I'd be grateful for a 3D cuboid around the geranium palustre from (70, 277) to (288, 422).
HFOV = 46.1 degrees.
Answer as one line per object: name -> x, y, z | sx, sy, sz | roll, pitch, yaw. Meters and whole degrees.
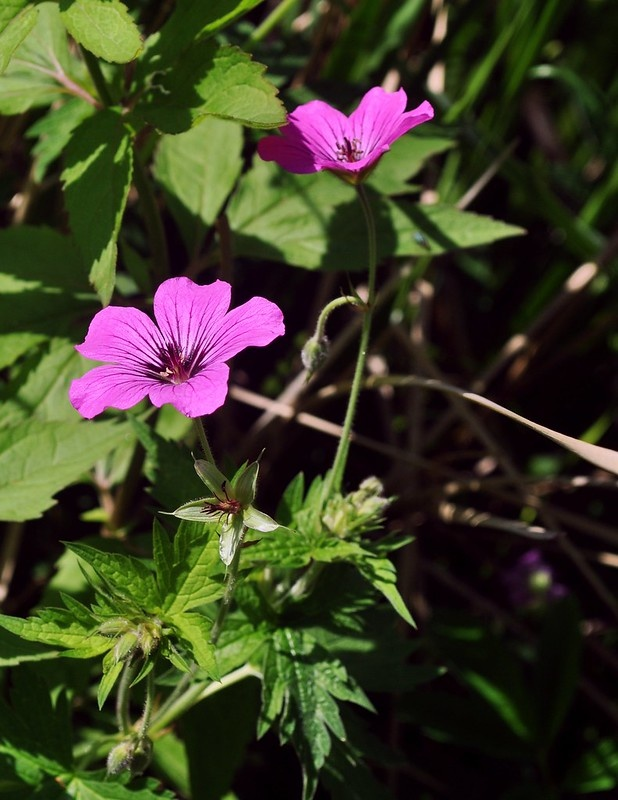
geranium palustre -> -0.252, -0.093, 1.335 | 0.382, 0.239, 0.279 | 17, 22, 26
